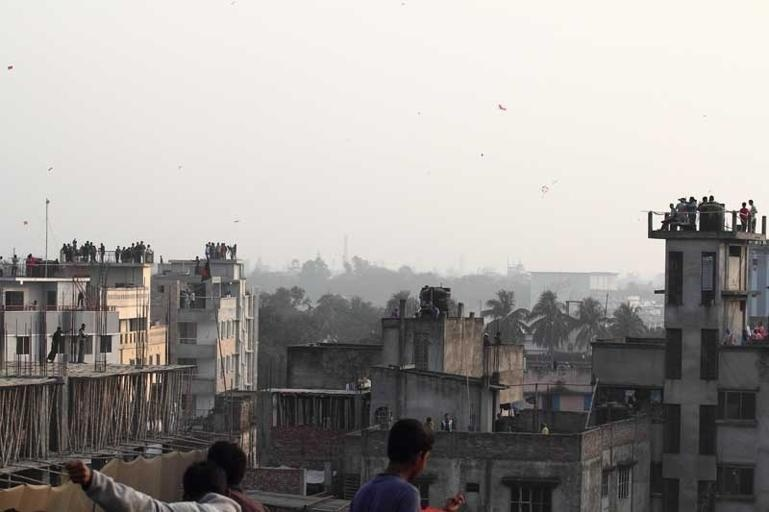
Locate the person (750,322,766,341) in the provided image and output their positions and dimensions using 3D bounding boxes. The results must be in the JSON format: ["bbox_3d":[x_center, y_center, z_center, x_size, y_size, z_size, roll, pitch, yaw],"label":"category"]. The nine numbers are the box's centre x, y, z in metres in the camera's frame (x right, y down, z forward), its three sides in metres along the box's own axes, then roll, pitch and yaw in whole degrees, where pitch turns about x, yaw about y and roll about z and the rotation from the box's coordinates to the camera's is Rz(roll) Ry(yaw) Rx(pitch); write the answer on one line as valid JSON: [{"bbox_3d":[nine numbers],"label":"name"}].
[{"bbox_3d":[19.192,3.917,95.886,0.895,1.204,0.836,-1,-7,24],"label":"person"}]

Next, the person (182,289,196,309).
[{"bbox_3d":[-12.572,2.726,118.296,1.016,1.215,0.704,3,-8,-15],"label":"person"}]

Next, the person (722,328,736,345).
[{"bbox_3d":[16.484,3.941,89.505,0.804,1.096,0.399,-1,-1,16],"label":"person"}]
